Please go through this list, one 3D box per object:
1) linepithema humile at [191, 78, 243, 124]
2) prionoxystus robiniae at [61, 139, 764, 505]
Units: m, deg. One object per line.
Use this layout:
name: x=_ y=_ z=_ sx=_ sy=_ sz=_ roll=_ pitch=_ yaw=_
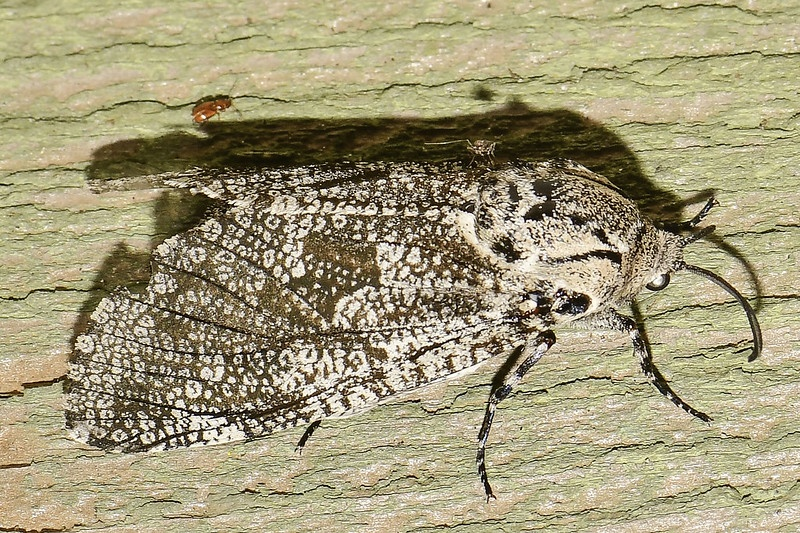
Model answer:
linepithema humile: x=-1.228 y=-1.057 z=6.632 sx=0.560 sy=0.103 sz=0.207 roll=-12 pitch=71 yaw=-2
prionoxystus robiniae: x=-0.524 y=0.140 z=6.577 sx=3.588 sy=0.506 sz=2.191 roll=-39 pitch=79 yaw=-9
